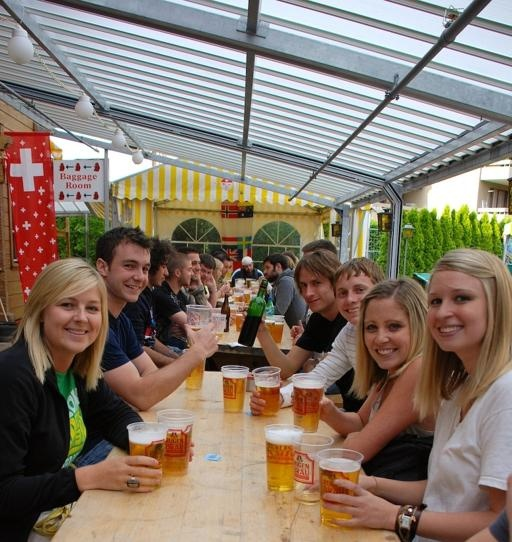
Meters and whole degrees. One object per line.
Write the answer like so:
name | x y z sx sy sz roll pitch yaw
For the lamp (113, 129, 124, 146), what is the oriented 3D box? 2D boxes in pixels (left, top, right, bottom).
lamp | -2.255 -2.165 7.256 0.166 0.330 0.397 1 1 -17

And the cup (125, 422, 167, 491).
cup | -0.334 0.543 1.324 0.136 0.110 0.120 6 -22 -25

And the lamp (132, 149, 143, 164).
lamp | -2.386 -2.293 8.901 0.207 0.316 0.446 1 1 -17

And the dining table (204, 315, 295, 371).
dining table | -0.078 0.697 4.274 0.743 0.213 0.961 1 0 -1

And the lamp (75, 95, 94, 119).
lamp | -2.051 -1.974 5.263 0.190 0.358 0.453 0 1 -21

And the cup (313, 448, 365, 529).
cup | 0.216 0.562 1.156 0.116 0.173 0.130 1 1 14

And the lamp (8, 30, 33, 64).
lamp | -1.840 -1.777 3.446 0.163 0.321 0.219 0 2 -27
